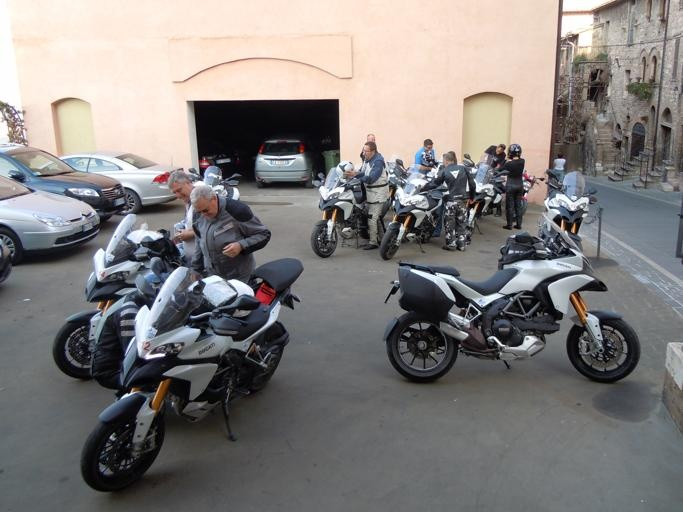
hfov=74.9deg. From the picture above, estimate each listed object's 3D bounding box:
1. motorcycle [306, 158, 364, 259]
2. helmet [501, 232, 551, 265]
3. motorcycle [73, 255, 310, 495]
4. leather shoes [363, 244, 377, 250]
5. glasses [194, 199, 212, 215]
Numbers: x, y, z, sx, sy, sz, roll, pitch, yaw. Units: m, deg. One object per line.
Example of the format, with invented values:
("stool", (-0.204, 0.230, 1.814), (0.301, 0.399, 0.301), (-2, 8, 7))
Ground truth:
("motorcycle", (-0.036, -1.041, 9.656), (1.578, 1.941, 0.581), (-16, 24, -40))
("helmet", (2.006, -0.065, 4.843), (0.424, 0.176, 0.373), (-1, 44, 13))
("motorcycle", (-1.138, 0.860, 3.789), (0.640, 1.698, 2.086), (12, 21, 31))
("leather shoes", (0.670, -0.222, 10.170), (0.298, 0.112, 0.125), (-3, 11, -29))
("glasses", (-1.410, -0.501, 4.545), (0.125, 0.073, 0.153), (-5, 30, 3))
